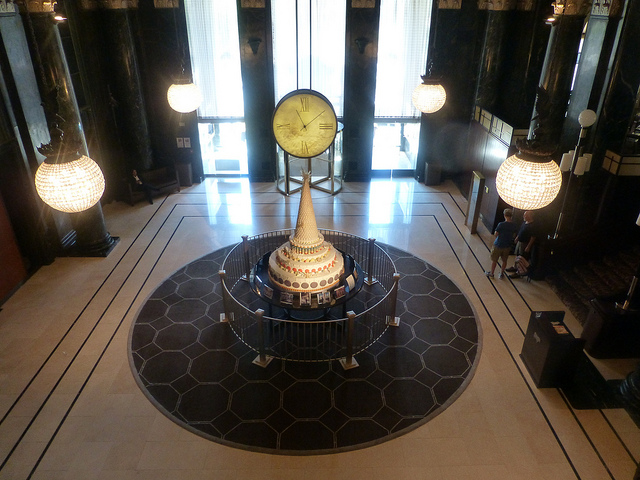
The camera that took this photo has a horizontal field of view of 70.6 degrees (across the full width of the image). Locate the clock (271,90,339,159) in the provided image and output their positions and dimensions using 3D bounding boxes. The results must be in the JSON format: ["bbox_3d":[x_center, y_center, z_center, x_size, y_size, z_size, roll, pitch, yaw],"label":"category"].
[{"bbox_3d":[-0.381,-2.901,11.430,1.575,1.726,0.246,-5,30,-5],"label":"clock"}]

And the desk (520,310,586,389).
[{"bbox_3d":[4.280,2.091,8.367,0.627,1.191,0.800,3,32,8],"label":"desk"}]

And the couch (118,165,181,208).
[{"bbox_3d":[-5.441,-1.608,14.742,1.767,1.431,1.548,7,17,-5],"label":"couch"}]
